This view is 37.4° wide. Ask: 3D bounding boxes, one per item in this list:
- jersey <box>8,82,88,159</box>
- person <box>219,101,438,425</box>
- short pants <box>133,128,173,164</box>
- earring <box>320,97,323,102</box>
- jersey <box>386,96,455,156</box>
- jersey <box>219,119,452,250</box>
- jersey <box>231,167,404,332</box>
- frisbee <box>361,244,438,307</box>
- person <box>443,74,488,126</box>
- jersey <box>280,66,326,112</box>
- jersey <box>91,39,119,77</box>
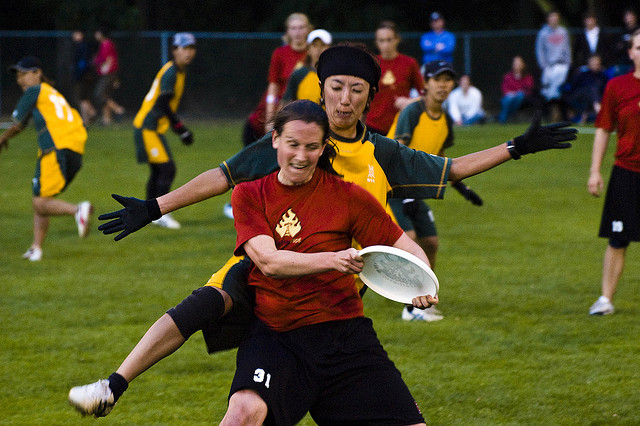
[{"bbox_3d":[-3.264,-1.064,11.023,0.798,0.892,0.787,-4,7,42],"label":"jersey"},{"bbox_3d":[0.052,0.383,6.563,1.332,2.240,0.688,2,12,-6],"label":"person"},{"bbox_3d":[-2.196,-0.840,12.342,0.554,0.669,0.411,-5,6,-12],"label":"short pants"},{"bbox_3d":[0.015,-0.850,7.148,0.026,0.032,0.009,-3,1,3],"label":"earring"},{"bbox_3d":[1.022,-0.765,9.256,0.768,0.625,0.337,5,4,-28],"label":"jersey"},{"bbox_3d":[0.182,-0.219,7.147,1.566,0.767,0.354,-2,5,-16],"label":"jersey"},{"bbox_3d":[-0.063,0.258,6.647,1.337,1.077,0.659,-1,1,5],"label":"jersey"},{"bbox_3d":[0.558,0.360,6.680,0.484,0.112,0.471,32,-36,-12],"label":"frisbee"},{"bbox_3d":[2.455,-1.889,15.978,0.779,0.867,0.803,-7,4,-32],"label":"person"},{"bbox_3d":[-0.230,-1.546,11.529,0.547,0.469,0.315,6,12,15],"label":"jersey"},{"bbox_3d":[-4.037,-2.917,17.600,0.589,0.633,0.594,2,16,6],"label":"jersey"}]
